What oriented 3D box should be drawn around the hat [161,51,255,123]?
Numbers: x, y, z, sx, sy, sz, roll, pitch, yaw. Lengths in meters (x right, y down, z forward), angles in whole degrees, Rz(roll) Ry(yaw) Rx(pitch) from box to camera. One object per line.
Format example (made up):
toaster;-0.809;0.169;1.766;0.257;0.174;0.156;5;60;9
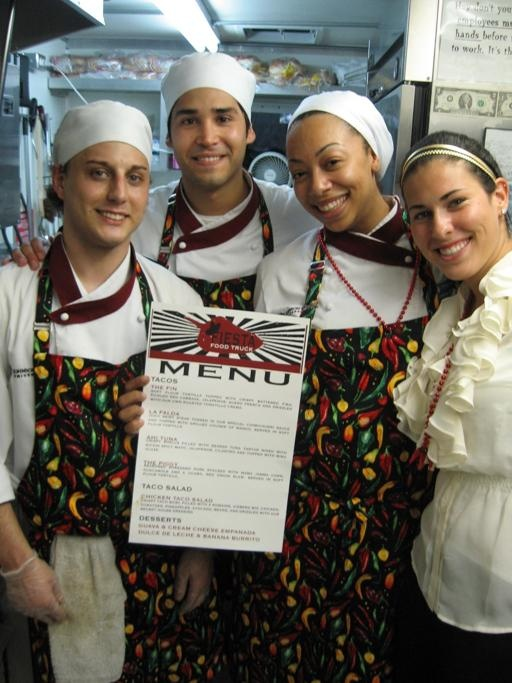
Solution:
hat;-0.142;-0.728;1.558;0.221;0.159;0.179;5;14;16
